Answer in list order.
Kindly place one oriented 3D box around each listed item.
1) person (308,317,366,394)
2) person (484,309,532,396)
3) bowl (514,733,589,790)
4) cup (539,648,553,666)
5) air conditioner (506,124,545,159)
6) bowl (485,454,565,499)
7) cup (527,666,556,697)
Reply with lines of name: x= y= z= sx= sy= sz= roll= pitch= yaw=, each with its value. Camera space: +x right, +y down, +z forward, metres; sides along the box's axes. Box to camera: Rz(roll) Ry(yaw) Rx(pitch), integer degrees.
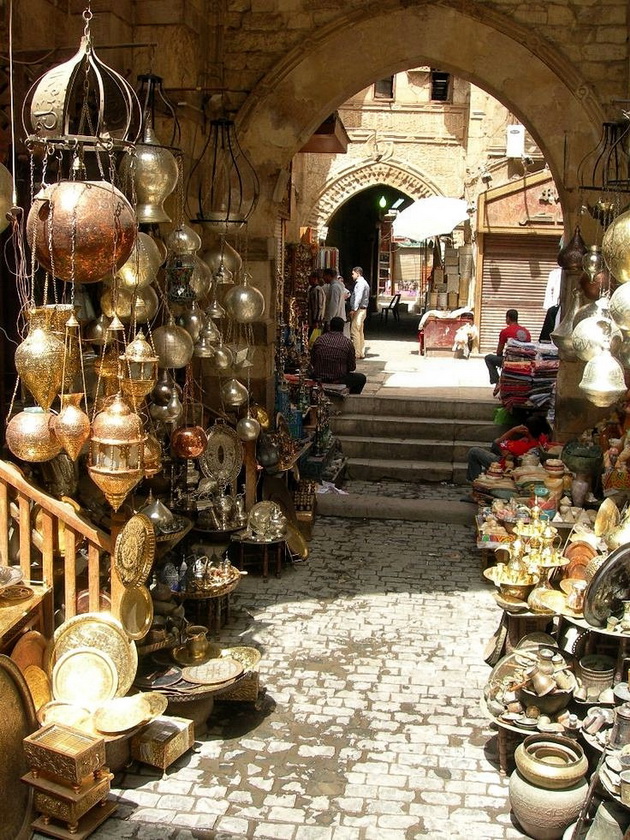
person: x=0.265 y=-0.777 z=9.952 sx=0.658 sy=0.783 sz=0.808 roll=1 pitch=7 yaw=-9
person: x=2.662 y=-0.927 z=10.228 sx=0.615 sy=1.105 sz=0.660 roll=-1 pitch=14 yaw=-5
bowl: x=0.856 y=1.250 z=2.721 sx=0.208 sy=0.101 sz=0.201 roll=-3 pitch=4 yaw=0
cup: x=0.964 y=0.991 z=3.091 sx=0.059 sy=0.038 sz=0.133 roll=5 pitch=7 yaw=21
air conditioner: x=4.149 y=-5.633 z=14.760 sx=0.721 sy=0.807 sz=0.830 roll=5 pitch=8 yaw=26
bowl: x=1.858 y=0.505 z=6.461 sx=0.516 sy=0.175 sz=0.546 roll=-1 pitch=4 yaw=0
cup: x=0.904 y=1.053 z=2.966 sx=0.077 sy=0.084 sz=0.083 roll=15 pitch=40 yaw=-13
